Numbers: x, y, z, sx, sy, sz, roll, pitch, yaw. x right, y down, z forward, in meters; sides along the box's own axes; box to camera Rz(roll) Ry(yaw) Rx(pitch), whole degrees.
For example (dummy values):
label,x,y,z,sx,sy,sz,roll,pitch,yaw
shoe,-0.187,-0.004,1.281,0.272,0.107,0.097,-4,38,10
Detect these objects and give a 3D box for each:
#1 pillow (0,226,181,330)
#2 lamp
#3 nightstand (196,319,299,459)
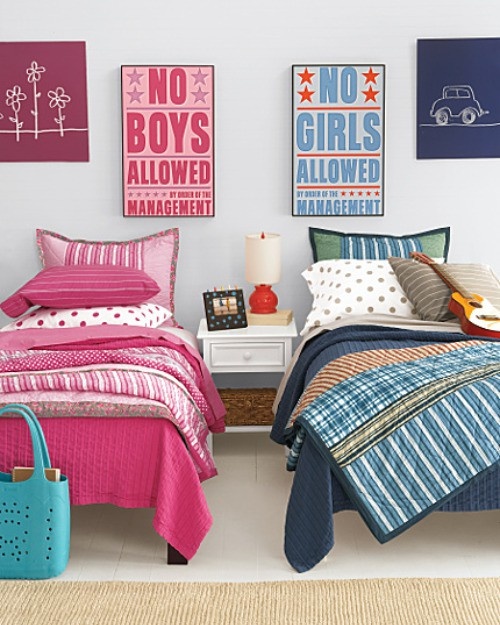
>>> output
label,x,y,z,sx,sy,sz,roll,pitch,yaw
pillow,-0.775,-0.189,2.746,0.633,0.426,0.146,-1,-2,-7
lamp,0.076,-0.212,2.921,0.172,0.431,0.265,1,6,11
nightstand,0.036,0.380,2.814,0.645,0.554,0.469,0,6,-3
